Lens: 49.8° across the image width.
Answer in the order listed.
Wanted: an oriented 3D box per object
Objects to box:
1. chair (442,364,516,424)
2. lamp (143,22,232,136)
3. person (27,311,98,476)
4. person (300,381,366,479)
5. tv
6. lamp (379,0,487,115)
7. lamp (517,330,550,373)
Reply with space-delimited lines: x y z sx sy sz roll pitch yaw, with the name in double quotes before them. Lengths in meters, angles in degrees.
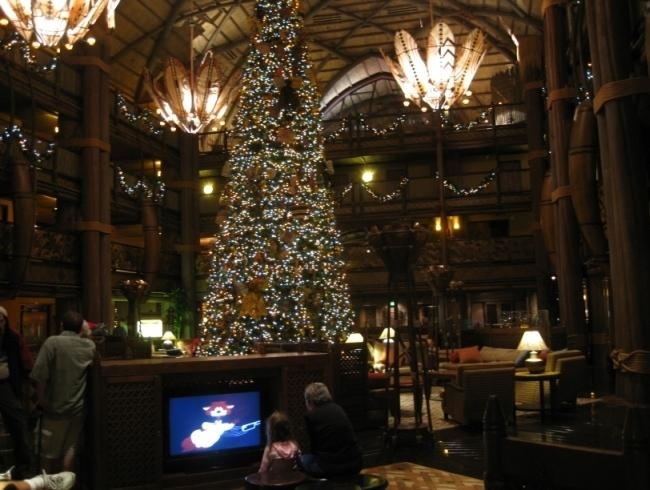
"chair" 2.437 2.351 11.105 1.071 0.918 1.099 -2 -6 -10
"lamp" -2.872 -3.318 14.698 1.569 1.728 0.697 0 -11 -16
"person" -2.799 1.555 7.487 0.652 1.706 0.400 1 -11 -19
"person" 0.014 1.913 7.187 0.710 0.906 0.669 -15 -15 27
"tv" -1.293 2.091 7.893 0.969 0.648 0.127 -1 1 -18
"lamp" 2.404 -3.668 15.226 2.267 1.468 1.914 -3 -4 -1
"lamp" 3.508 1.805 11.770 0.509 0.701 0.478 -2 -14 10
